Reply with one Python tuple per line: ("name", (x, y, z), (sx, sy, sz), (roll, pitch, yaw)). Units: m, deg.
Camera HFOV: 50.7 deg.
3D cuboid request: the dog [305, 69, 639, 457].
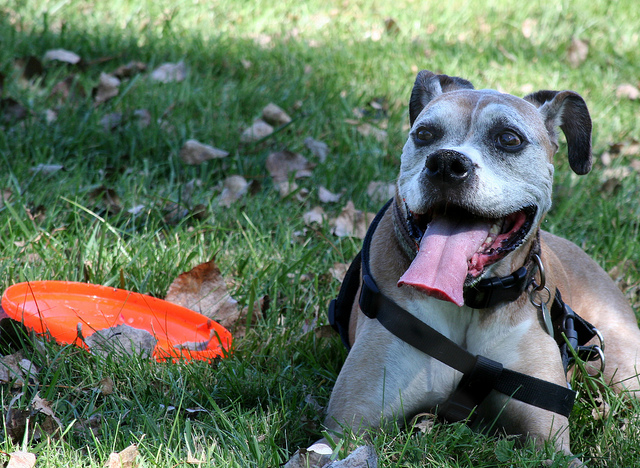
("dog", (0.996, 0.168, 3.937), (1.882, 1.971, 1.562), (12, 25, -11))
